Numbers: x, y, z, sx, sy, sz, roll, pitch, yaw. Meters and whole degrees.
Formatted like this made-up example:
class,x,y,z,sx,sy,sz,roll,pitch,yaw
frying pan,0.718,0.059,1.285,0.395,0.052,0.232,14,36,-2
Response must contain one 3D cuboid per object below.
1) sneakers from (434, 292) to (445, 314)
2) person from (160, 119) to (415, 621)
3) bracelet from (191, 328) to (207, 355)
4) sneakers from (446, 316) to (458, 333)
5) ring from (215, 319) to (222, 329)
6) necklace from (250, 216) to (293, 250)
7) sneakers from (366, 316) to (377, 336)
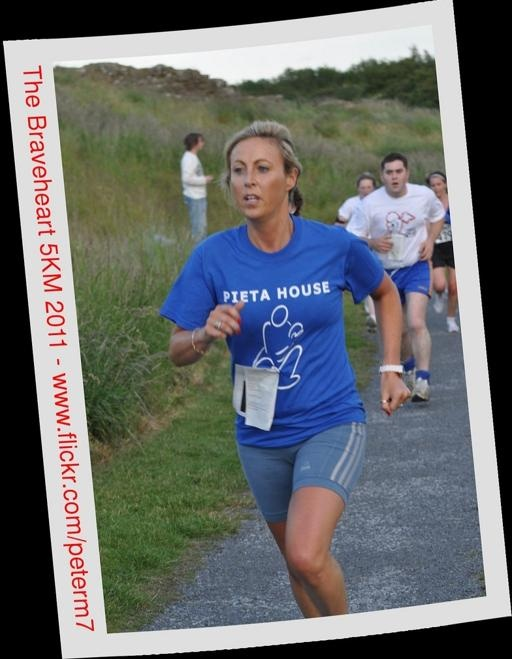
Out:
class,x,y,z,sx,sy,sz,roll,pitch,yaw
sneakers,2.059,-0.281,9.452,0.096,0.118,0.278,0,45,9
person,0.192,0.199,4.202,0.913,2.442,1.116,1,8,42
bracelet,-0.275,0.059,3.981,0.063,0.115,0.084,-3,-7,10
sneakers,2.098,-0.036,8.958,0.080,0.101,0.239,-7,-16,1
ring,-0.170,-0.017,3.753,0.037,0.035,0.034,2,43,-2
necklace,0.072,-0.459,4.119,0.146,0.168,0.192,-28,-30,-2
sneakers,1.207,-0.028,8.798,0.174,0.151,0.291,-3,-19,5
